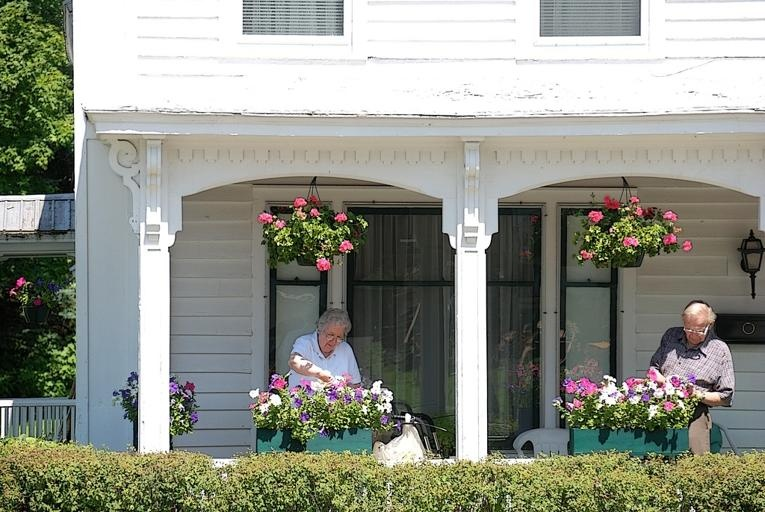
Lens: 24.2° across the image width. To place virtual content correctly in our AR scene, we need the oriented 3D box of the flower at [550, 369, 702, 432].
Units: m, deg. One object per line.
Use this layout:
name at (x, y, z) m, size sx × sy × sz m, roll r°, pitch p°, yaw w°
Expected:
flower at (3.112, 1.832, 22.194) m, size 1.674 × 0.768 × 0.362 m, roll -2°, pitch -6°, yaw 8°

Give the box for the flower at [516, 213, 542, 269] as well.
flower at (1.983, -0.204, 23.804) m, size 0.273 × 0.742 × 0.089 m, roll 0°, pitch -6°, yaw -4°

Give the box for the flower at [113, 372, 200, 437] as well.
flower at (-2.913, 1.873, 22.923) m, size 1.191 × 0.601 × 0.879 m, roll 12°, pitch -9°, yaw -16°

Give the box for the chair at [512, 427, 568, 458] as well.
chair at (2.149, 2.623, 23.584) m, size 0.769 × 0.309 × 0.376 m, roll 0°, pitch 8°, yaw 7°

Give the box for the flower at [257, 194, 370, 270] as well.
flower at (-0.924, -0.244, 22.832) m, size 1.338 × 0.773 × 1.083 m, roll 2°, pitch -1°, yaw -9°

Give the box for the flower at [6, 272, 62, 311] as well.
flower at (-5.898, 0.679, 30.285) m, size 0.984 × 0.481 × 0.856 m, roll 1°, pitch 3°, yaw -44°

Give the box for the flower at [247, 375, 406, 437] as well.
flower at (-0.721, 1.925, 22.167) m, size 1.116 × 0.425 × 1.032 m, roll 2°, pitch -1°, yaw -28°

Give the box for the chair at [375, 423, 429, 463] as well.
chair at (0.231, 2.410, 22.417) m, size 0.687 × 0.408 × 0.431 m, roll -14°, pitch -2°, yaw 0°

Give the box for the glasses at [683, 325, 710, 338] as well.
glasses at (3.953, 0.969, 22.292) m, size 0.313 × 0.109 × 0.165 m, roll -1°, pitch -6°, yaw -2°

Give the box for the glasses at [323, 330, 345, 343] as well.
glasses at (-0.600, 1.073, 22.724) m, size 0.167 × 0.147 × 0.049 m, roll 8°, pitch 39°, yaw -14°

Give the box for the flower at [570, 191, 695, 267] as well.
flower at (3.147, -0.254, 22.717) m, size 1.150 × 0.666 × 1.251 m, roll -18°, pitch 25°, yaw -37°

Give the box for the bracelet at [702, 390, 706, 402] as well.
bracelet at (4.010, 1.770, 22.129) m, size 0.033 × 0.076 × 0.067 m, roll 10°, pitch 0°, yaw 24°
